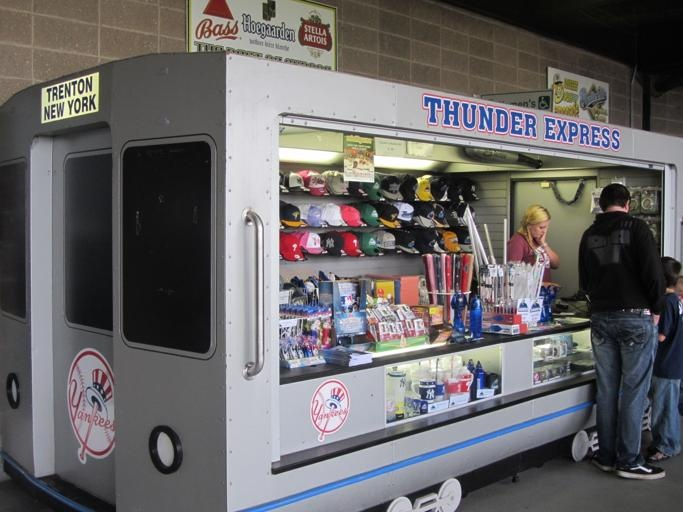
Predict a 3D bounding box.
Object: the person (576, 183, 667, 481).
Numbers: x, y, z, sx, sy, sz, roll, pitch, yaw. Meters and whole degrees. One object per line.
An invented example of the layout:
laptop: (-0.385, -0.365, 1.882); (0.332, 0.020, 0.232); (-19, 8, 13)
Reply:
person: (2.210, 0.689, 4.524); (0.621, 2.078, 0.321); (-1, 4, 35)

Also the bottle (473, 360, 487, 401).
bottle: (1.013, 0.923, 4.205); (0.091, 0.256, 0.133); (-2, 3, 18)

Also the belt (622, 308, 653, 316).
belt: (2.270, 0.430, 4.366); (0.121, 0.042, 0.086); (-2, 1, -1)

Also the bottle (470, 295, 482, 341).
bottle: (0.995, 0.463, 4.243); (0.094, 0.311, 0.112); (-3, 3, -9)

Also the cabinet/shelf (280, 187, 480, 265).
cabinet/shelf: (0.418, -0.350, 6.418); (2.561, 0.772, 0.491); (-4, 3, -27)

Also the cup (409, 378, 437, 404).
cup: (0.563, 0.924, 3.904); (0.181, 0.117, 0.117); (0, 1, -9)

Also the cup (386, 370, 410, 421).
cup: (0.363, 0.922, 3.780); (0.119, 0.321, 0.234); (-2, 3, 8)

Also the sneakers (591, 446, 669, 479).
sneakers: (2.272, 1.647, 4.515); (0.498, 0.185, 0.173); (-2, 0, 0)
